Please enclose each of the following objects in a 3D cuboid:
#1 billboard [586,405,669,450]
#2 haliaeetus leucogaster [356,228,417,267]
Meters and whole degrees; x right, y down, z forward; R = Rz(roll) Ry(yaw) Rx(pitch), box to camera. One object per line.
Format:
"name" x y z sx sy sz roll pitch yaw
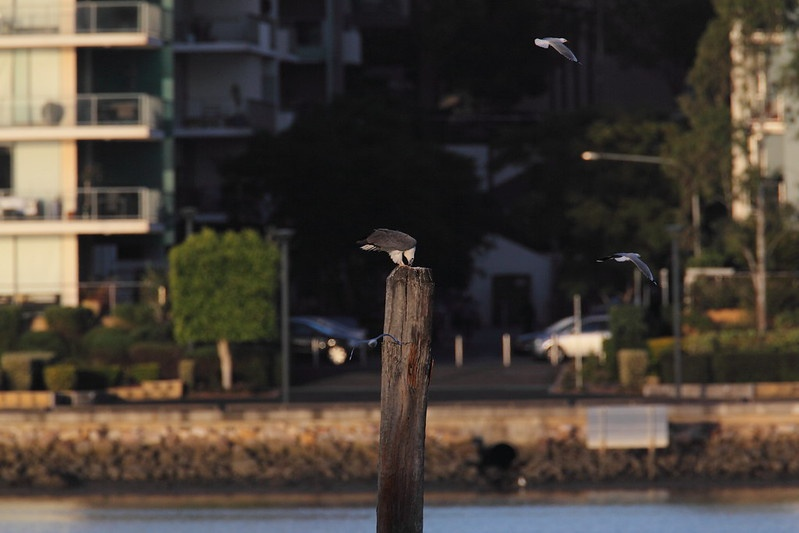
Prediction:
"billboard" 7.728 5.474 91.800 2.681 1.521 0.644 5 8 1
"haliaeetus leucogaster" -0.282 -0.740 82.560 1.890 0.936 0.751 18 -14 -16
